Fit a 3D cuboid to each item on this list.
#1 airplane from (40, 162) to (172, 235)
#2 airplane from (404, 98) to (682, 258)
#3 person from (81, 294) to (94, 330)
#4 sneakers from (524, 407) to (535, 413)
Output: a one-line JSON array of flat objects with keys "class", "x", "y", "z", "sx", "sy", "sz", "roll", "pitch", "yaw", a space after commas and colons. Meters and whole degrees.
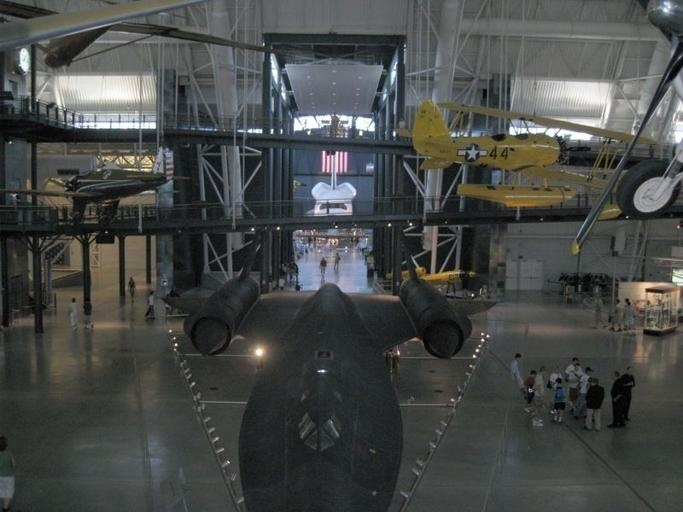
[{"class": "airplane", "x": -11.023, "y": -2.824, "z": 31.536, "sx": 4.151, "sy": 2.646, "sz": 2.533, "roll": -3, "pitch": 8, "yaw": -32}, {"class": "airplane", "x": 6.718, "y": -3.954, "z": 27.005, "sx": 8.032, "sy": 3.576, "sz": 9.172, "roll": 1, "pitch": 14, "yaw": -34}, {"class": "person", "x": -12.306, "y": 2.732, "z": 32.757, "sx": 0.394, "sy": 1.335, "sz": 2.001, "roll": -2, "pitch": 7, "yaw": -21}, {"class": "sneakers", "x": 5.876, "y": 4.858, "z": 21.273, "sx": 0.237, "sy": 0.129, "sz": 0.230, "roll": 0, "pitch": 7, "yaw": 6}]
